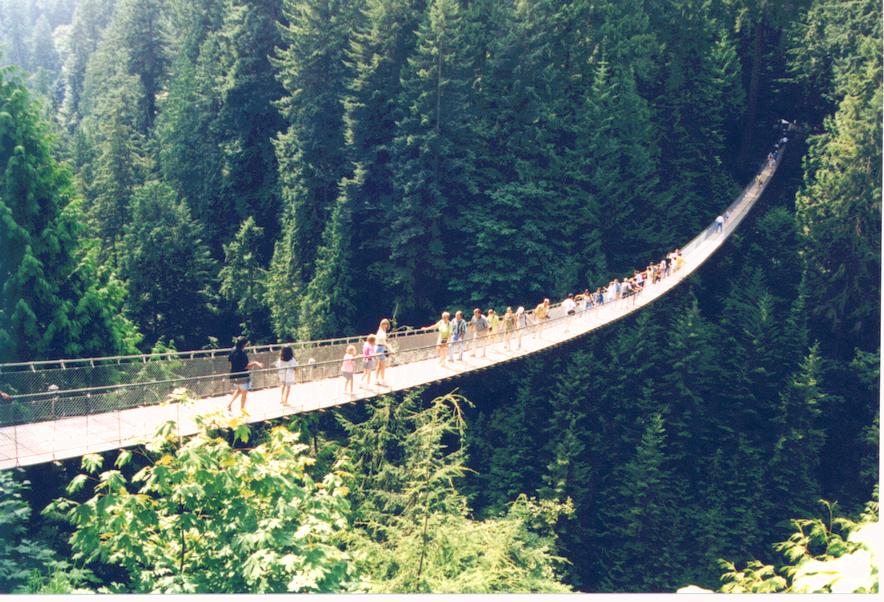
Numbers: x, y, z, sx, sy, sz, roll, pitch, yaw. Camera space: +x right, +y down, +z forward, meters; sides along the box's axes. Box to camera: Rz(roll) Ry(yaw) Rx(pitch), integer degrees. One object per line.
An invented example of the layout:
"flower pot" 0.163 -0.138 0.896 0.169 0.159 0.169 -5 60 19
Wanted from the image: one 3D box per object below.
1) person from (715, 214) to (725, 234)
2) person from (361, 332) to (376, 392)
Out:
"person" 14.169 -3.952 66.712 0.408 0.957 1.639 2 -4 9
"person" -2.918 2.362 51.573 0.476 2.020 1.399 3 -4 -4
